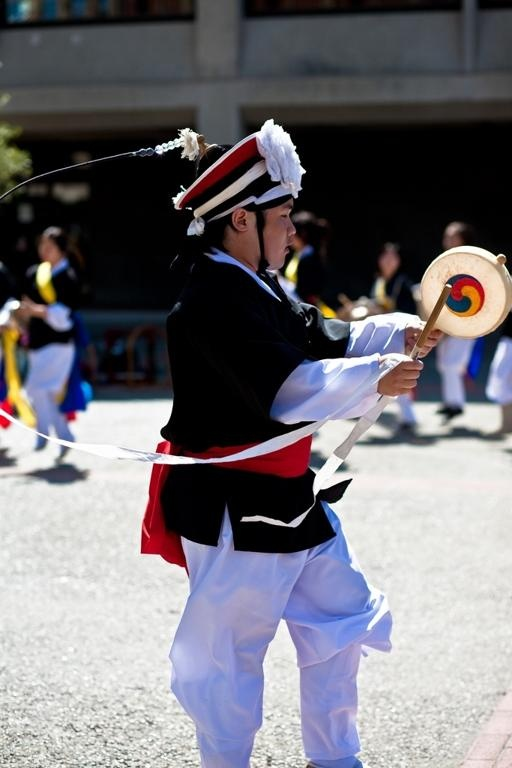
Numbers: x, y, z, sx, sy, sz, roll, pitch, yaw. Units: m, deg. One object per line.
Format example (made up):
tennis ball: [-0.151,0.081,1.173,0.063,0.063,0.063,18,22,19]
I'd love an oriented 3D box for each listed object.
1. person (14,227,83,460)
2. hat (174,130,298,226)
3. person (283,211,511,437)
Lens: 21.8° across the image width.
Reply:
person: [-1.285,-0.256,8.511,0.384,1.429,1.093,-4,10,-8]
hat: [-0.056,-0.555,3.783,0.394,0.212,0.293,-21,-4,-4]
person: [1.121,-0.521,9.462,1.362,1.625,0.588,9,5,3]
